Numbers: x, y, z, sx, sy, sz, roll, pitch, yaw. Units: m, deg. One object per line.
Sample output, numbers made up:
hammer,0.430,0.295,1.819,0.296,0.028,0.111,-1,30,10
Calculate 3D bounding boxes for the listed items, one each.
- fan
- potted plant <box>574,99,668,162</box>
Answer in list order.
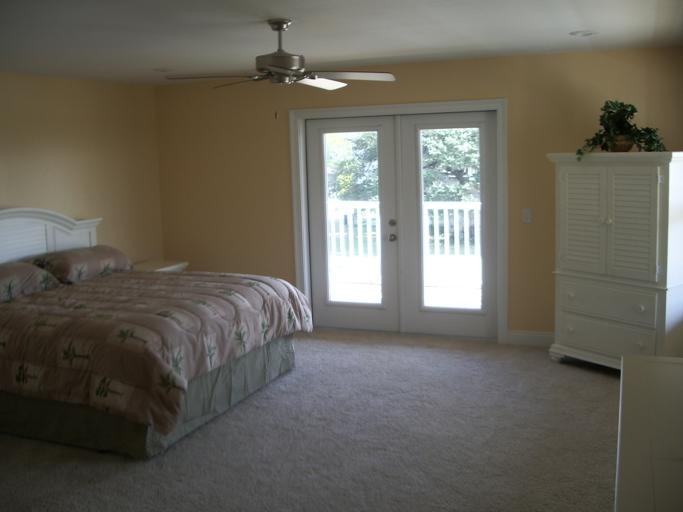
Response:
fan,-0.214,-1.247,3.285,0.756,0.296,0.574,-5,9,-33
potted plant,2.130,-0.971,4.036,0.436,0.304,0.453,-5,6,21
